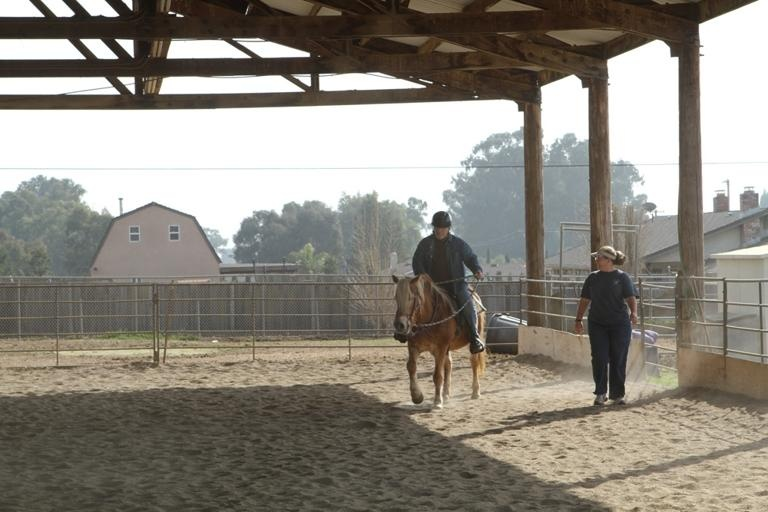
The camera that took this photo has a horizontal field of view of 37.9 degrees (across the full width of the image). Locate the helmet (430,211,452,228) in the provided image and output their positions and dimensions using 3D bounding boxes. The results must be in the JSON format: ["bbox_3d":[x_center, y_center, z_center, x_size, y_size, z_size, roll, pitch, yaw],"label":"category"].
[{"bbox_3d":[1.103,-0.701,21.032,0.347,0.373,0.506,-1,12,0],"label":"helmet"}]

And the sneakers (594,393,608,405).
[{"bbox_3d":[4.088,2.662,20.846,0.122,0.268,0.369,-3,-13,18],"label":"sneakers"}]

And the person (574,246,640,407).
[{"bbox_3d":[4.209,1.284,20.758,1.011,2.890,0.563,1,11,12],"label":"person"}]

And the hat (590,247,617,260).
[{"bbox_3d":[4.181,-0.078,20.769,0.366,0.166,0.263,2,0,8],"label":"hat"}]

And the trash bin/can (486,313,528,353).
[{"bbox_3d":[2.894,1.813,26.708,0.844,0.804,1.379,0,12,5],"label":"trash bin/can"}]
